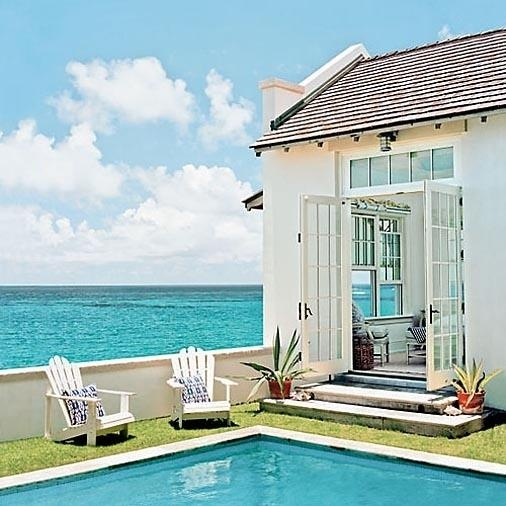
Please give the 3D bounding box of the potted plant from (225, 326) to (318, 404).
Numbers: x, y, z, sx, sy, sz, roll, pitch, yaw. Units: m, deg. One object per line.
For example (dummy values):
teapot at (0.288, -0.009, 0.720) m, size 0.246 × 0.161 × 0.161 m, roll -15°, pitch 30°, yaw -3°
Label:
potted plant at (0.415, 1.631, 8.053) m, size 1.105 × 0.825 × 1.129 m, roll -11°, pitch -17°, yaw 41°

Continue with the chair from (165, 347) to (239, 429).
chair at (-0.686, 1.646, 6.833) m, size 0.687 × 0.837 × 0.931 m, roll 2°, pitch -3°, yaw -19°

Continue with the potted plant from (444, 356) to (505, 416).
potted plant at (2.664, 1.596, 6.768) m, size 0.587 × 0.505 × 0.574 m, roll 1°, pitch -4°, yaw -23°

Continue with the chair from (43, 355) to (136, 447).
chair at (-1.744, 1.573, 6.091) m, size 0.996 × 1.030 × 0.772 m, roll -5°, pitch -7°, yaw 35°

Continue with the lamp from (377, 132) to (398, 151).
lamp at (1.891, -1.576, 7.936) m, size 0.225 × 0.263 × 0.309 m, roll -3°, pitch 0°, yaw -21°

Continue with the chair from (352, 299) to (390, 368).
chair at (2.047, 1.345, 9.721) m, size 0.752 × 1.062 × 0.762 m, roll -3°, pitch 1°, yaw -5°
